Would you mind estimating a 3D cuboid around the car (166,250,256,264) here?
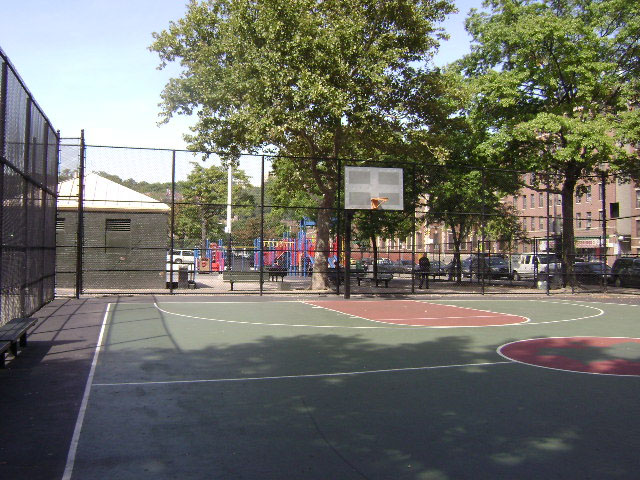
[{"bbox_3d":[-6.234,0.966,35.497,3.690,0.827,0.878,-2,3,-24],"label":"car"}]
